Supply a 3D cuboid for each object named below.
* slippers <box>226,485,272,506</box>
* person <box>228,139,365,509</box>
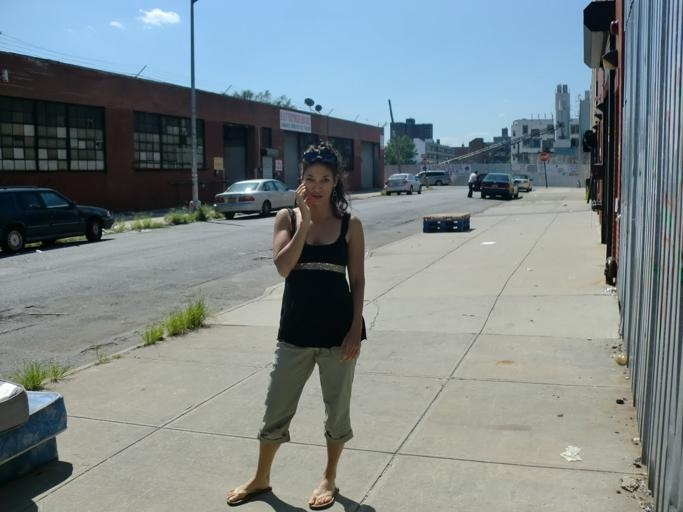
[{"bbox_3d":[-0.625,1.630,3.936,0.275,0.124,0.099,5,-2,-31],"label":"slippers"},{"bbox_3d":[-0.234,0.452,3.876,0.793,2.380,0.504,-2,7,-2],"label":"person"}]
